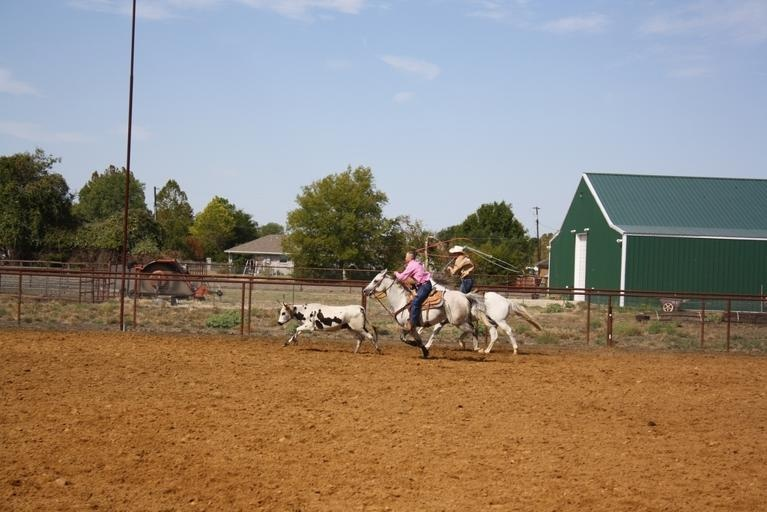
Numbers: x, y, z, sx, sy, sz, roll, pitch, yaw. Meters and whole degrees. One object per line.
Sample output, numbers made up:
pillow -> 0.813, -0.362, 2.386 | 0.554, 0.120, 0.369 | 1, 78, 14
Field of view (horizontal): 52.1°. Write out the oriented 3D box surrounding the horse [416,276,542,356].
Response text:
horse -> 2.872, 1.967, 24.777 | 4.222, 2.236, 0.831 | 2, -6, 7

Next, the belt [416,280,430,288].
belt -> 1.210, 0.892, 23.473 | 0.252, 0.251, 0.244 | -4, -6, 45

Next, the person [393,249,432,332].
person -> 0.957, 1.113, 23.440 | 0.953, 2.318, 0.760 | 5, -5, -26
